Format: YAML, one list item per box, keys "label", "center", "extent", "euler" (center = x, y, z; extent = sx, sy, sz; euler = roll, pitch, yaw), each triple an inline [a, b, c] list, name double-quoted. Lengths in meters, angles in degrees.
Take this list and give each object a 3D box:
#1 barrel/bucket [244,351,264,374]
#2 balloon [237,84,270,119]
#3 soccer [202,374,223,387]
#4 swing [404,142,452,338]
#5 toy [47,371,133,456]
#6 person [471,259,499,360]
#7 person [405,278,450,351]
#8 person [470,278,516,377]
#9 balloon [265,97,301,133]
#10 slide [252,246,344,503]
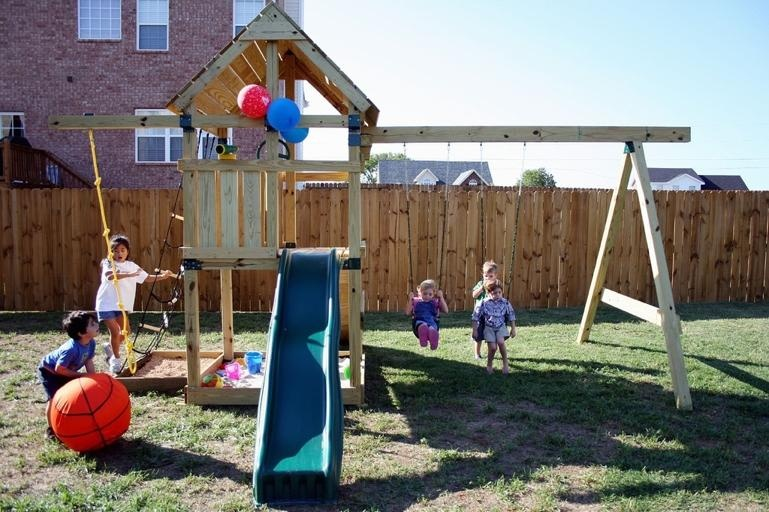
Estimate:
- label: "barrel/bucket"
  center: [-2.002, 1.631, 12.502]
  extent: [0.287, 0.324, 0.294]
  euler: [1, 0, 0]
- label: "balloon"
  center: [-1.876, -2.250, 11.666]
  extent: [0.430, 0.544, 0.442]
  euler: [-2, 22, -24]
- label: "soccer"
  center: [-2.508, 1.813, 11.928]
  extent: [0.319, 0.172, 0.298]
  euler: [0, 4, -14]
- label: "swing"
  center: [0.700, -0.144, 12.927]
  extent: [0.494, 3.088, 0.810]
  euler: [4, -2, 37]
- label: "toy"
  center: [-3.842, 2.057, 10.780]
  extent: [0.934, 1.075, 0.966]
  euler: [-5, 29, -42]
- label: "person"
  center: [1.645, 0.799, 13.226]
  extent: [0.488, 1.725, 0.480]
  euler: [1, -1, 1]
- label: "person"
  center: [0.683, 0.901, 12.754]
  extent: [0.540, 1.198, 0.869]
  euler: [2, -3, -18]
- label: "person"
  center: [1.755, 1.116, 12.873]
  extent: [0.631, 1.435, 0.595]
  euler: [0, -1, 1]
- label: "balloon"
  center: [-1.420, -2.018, 11.563]
  extent: [0.430, 0.537, 0.451]
  euler: [-13, 43, -23]
- label: "slide"
  center: [-1.058, 1.634, 10.676]
  extent: [0.872, 3.394, 0.695]
  euler: [1, -29, -3]
